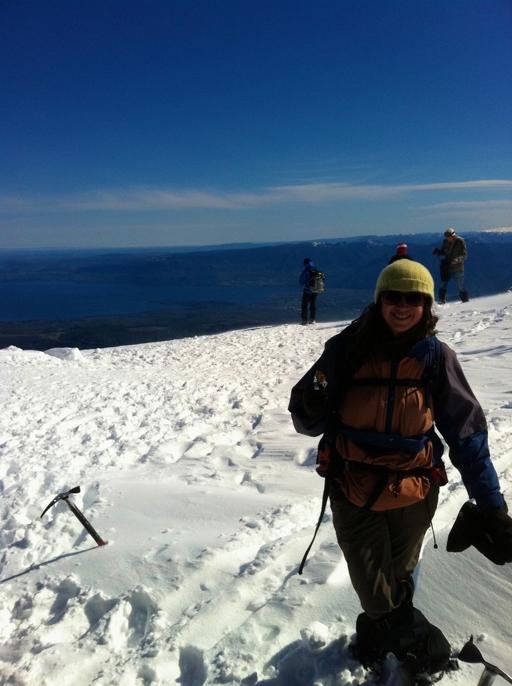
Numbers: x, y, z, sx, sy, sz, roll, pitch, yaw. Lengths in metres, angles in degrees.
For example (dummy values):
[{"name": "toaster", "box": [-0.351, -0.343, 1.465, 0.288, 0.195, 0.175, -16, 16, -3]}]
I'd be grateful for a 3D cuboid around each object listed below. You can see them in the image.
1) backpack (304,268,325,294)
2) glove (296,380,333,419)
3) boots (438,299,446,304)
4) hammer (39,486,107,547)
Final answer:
[{"name": "backpack", "box": [1.538, -1.692, 14.016, 0.508, 0.626, 0.693, 9, -9, 8]}, {"name": "glove", "box": [0.249, 0.234, 2.239, 0.124, 0.096, 0.176, 13, -27, 16]}, {"name": "boots", "box": [5.247, -1.175, 15.143, 0.199, 0.065, 0.145, -8, -1, -1]}, {"name": "hammer", "box": [-1.231, 1.235, 3.699, 0.259, 0.476, 0.282, -43, -19, 16]}]
